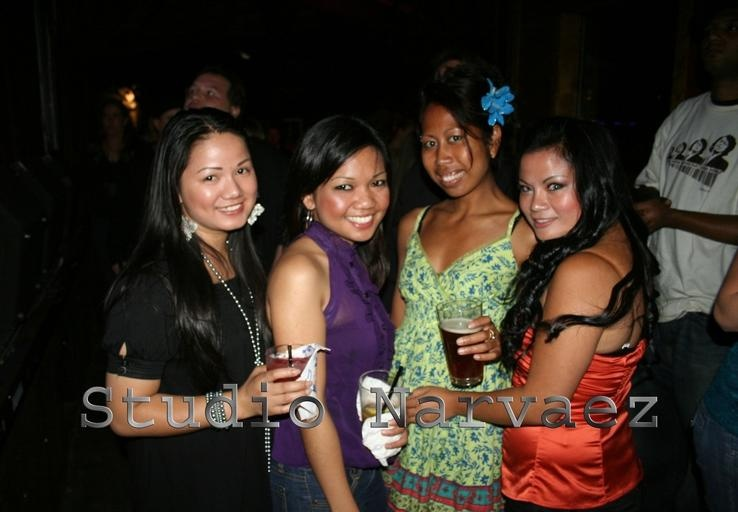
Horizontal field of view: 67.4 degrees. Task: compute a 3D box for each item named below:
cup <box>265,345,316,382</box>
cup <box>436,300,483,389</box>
[{"bbox_3d":[-0.372,0.491,2.575,0.199,0.167,0.160,2,-4,-6],"label":"cup"},{"bbox_3d":[0.482,0.479,2.900,0.229,0.480,0.161,-3,6,6],"label":"cup"}]
